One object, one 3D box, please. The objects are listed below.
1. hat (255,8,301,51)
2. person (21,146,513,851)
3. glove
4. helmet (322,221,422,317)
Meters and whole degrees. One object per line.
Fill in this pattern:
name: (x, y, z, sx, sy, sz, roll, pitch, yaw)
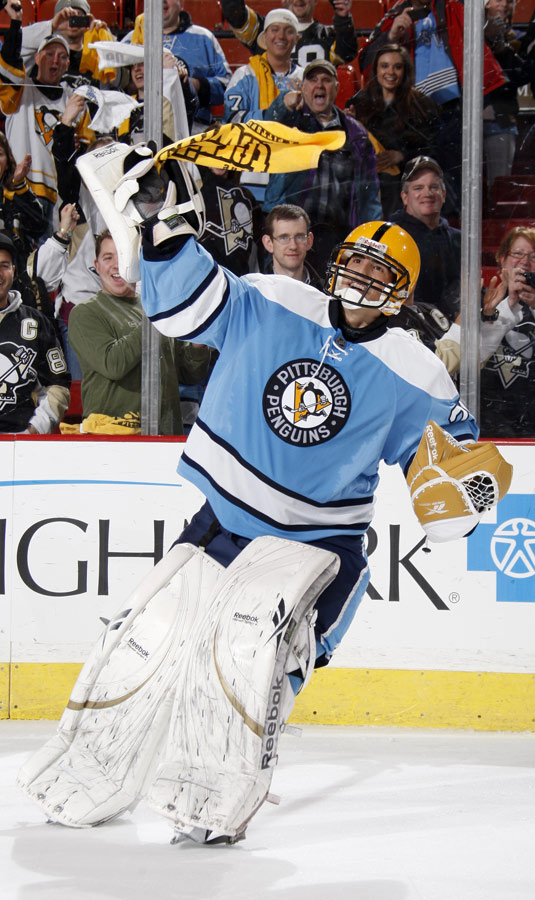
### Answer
hat: (0.047, -1.755, 3.964, 0.170, 0.123, 0.116, 0, 39, 6)
person: (0.002, 0.078, 2.312, 1.028, 1.660, 0.466, 4, -5, -25)
glove: (-0.230, -0.559, 2.257, 0.205, 0.279, 0.120, -13, -17, 10)
helmet: (0.286, -0.454, 2.458, 0.193, 0.206, 0.253, 27, 17, 14)
